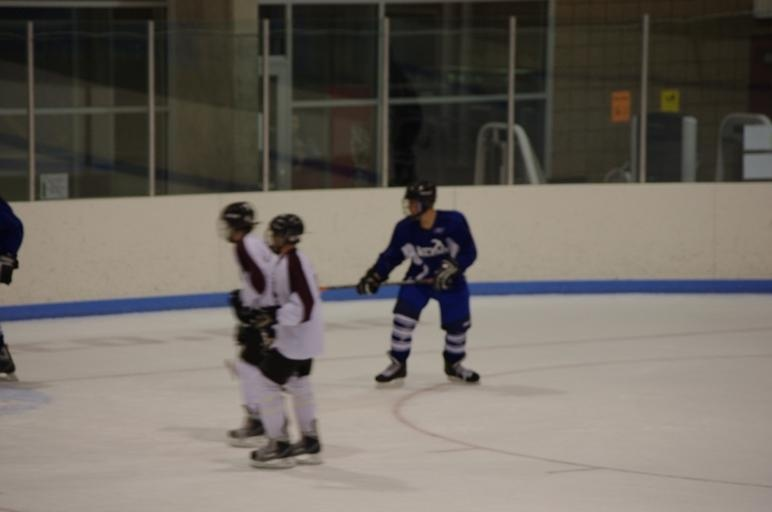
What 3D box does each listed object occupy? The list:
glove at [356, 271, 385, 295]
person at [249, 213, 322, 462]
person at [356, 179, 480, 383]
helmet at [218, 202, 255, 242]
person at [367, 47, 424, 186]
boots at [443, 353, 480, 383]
[{"bbox_3d":[-0.108,0.223,10.921,0.217,0.163,0.089,-38,-24,-9],"label":"glove"},{"bbox_3d":[-0.701,0.572,9.406,0.527,1.698,0.593,-1,15,-3],"label":"person"},{"bbox_3d":[0.310,0.189,10.961,0.930,1.612,0.583,-1,15,-1],"label":"person"},{"bbox_3d":[-1.037,-0.251,9.537,0.307,0.272,0.234,5,12,18],"label":"helmet"},{"bbox_3d":[0.147,-1.449,14.127,0.525,1.398,0.312,-1,15,-2],"label":"person"},{"bbox_3d":[0.694,0.919,11.007,0.414,0.260,0.149,3,9,16],"label":"boots"}]
